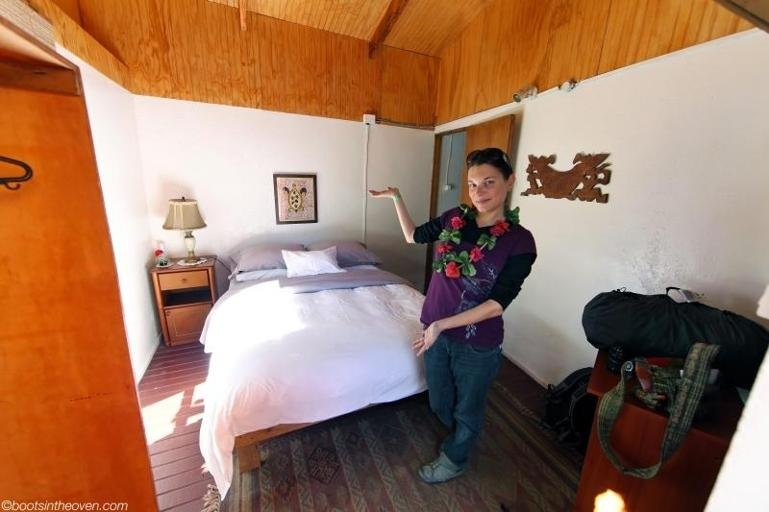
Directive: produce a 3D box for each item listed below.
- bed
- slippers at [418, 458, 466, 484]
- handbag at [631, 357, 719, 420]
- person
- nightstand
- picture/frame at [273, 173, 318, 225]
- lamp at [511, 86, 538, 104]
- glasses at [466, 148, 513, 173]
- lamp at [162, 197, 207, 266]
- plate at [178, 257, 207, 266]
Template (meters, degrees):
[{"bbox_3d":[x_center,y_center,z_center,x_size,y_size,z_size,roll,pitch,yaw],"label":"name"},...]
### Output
[{"bbox_3d":[-0.593,0.544,3.462,1.296,0.557,1.250,-8,25,-19],"label":"bed"},{"bbox_3d":[0.374,1.367,3.101,0.289,0.121,0.145,0,7,-12],"label":"slippers"},{"bbox_3d":[1.504,0.686,2.491,0.308,0.311,0.124,6,-24,35],"label":"handbag"},{"bbox_3d":[0.507,0.402,2.952,0.745,2.084,0.512,-1,12,5],"label":"person"},{"bbox_3d":[-1.805,0.397,4.389,0.551,0.691,0.506,-10,16,-30],"label":"nightstand"},{"bbox_3d":[-0.909,-0.591,4.772,0.484,0.539,0.040,-7,18,-24],"label":"picture/frame"},{"bbox_3d":[1.121,-1.308,3.839,0.126,0.113,0.184,-9,13,-29],"label":"lamp"},{"bbox_3d":[0.626,-0.531,2.743,0.212,0.091,0.153,-1,8,-38],"label":"glasses"},{"bbox_3d":[-1.796,-0.232,4.305,0.338,0.581,0.345,-7,13,-24],"label":"lamp"},{"bbox_3d":[-1.720,0.051,4.318,0.125,0.038,0.127,11,15,39],"label":"plate"}]
